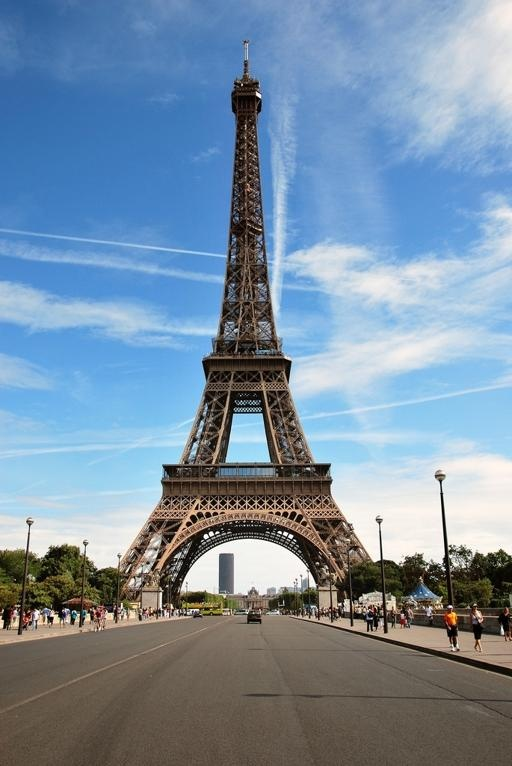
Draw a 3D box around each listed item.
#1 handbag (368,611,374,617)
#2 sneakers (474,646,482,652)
[{"bbox_3d":[7.919,15.916,40.964,0.349,0.504,0.363,-7,-36,11],"label":"handbag"},{"bbox_3d":[7.833,9.333,20.891,0.133,0.202,0.434,0,-13,10],"label":"sneakers"}]
